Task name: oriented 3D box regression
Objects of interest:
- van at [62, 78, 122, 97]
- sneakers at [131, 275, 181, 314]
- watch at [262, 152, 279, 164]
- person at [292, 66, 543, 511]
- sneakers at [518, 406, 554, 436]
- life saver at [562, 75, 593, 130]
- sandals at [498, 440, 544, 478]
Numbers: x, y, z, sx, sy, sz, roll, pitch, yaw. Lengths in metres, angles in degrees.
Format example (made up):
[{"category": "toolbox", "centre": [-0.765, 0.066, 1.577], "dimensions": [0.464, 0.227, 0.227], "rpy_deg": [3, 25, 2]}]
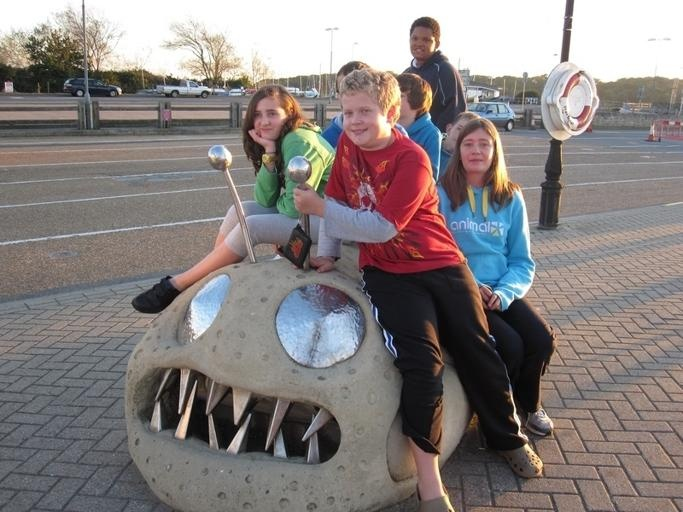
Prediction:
[{"category": "van", "centre": [-23.010, -15.436, 44.780], "dimensions": [2.393, 1.553, 5.663], "rpy_deg": [2, 19, 12]}, {"category": "sneakers", "centre": [-1.424, 0.293, 3.726], "dimensions": [0.387, 0.157, 0.152], "rpy_deg": [-37, 56, 8]}, {"category": "watch", "centre": [-0.538, -0.728, 3.608], "dimensions": [0.071, 0.052, 0.075], "rpy_deg": [1, 1, 26]}, {"category": "person", "centre": [0.412, 0.190, 2.669], "dimensions": [1.268, 2.307, 0.891], "rpy_deg": [6, 18, 24]}, {"category": "sneakers", "centre": [1.306, 1.101, 3.321], "dimensions": [0.109, 0.136, 0.261], "rpy_deg": [1, 4, -23]}, {"category": "life saver", "centre": [3.629, -2.338, 7.350], "dimensions": [0.704, 0.856, 0.274], "rpy_deg": [-14, 21, -34]}, {"category": "sandals", "centre": [1.084, 1.223, 2.950], "dimensions": [0.125, 0.125, 0.264], "rpy_deg": [-12, 17, -17]}]
